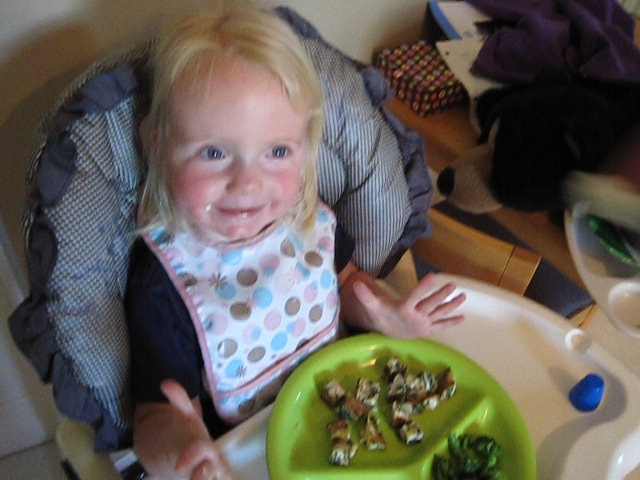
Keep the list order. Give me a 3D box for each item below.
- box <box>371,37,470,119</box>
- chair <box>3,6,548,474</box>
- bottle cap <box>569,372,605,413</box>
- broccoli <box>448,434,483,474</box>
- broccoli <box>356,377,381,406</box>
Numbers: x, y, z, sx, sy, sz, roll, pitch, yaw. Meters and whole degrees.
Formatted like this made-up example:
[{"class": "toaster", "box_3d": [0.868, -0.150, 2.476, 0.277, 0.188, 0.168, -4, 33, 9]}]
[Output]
[{"class": "box", "box_3d": [0.262, -0.474, 1.724, 0.246, 0.226, 0.289, -24, 40, -26]}, {"class": "chair", "box_3d": [-0.102, 0.026, 1.171, 0.653, 0.676, 0.609, -29, 72, -20]}, {"class": "bottle cap", "box_3d": [0.517, 0.281, 1.180, 0.065, 0.033, 0.088, 16, 41, 32]}, {"class": "broccoli", "box_3d": [0.259, 0.384, 1.082, 0.035, 0.015, 0.065, -36, 46, 34]}, {"class": "broccoli", "box_3d": [0.089, 0.285, 1.139, 0.045, 0.018, 0.044, 47, 63, -3]}]
